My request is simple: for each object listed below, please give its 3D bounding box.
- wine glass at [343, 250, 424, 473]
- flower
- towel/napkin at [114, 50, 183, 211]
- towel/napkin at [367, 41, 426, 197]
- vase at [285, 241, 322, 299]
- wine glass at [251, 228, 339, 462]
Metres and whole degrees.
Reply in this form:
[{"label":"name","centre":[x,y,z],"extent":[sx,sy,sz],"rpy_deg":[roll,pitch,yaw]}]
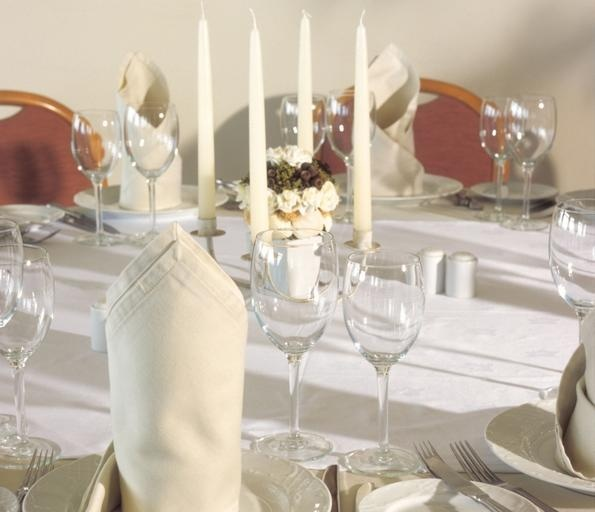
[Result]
[{"label":"wine glass","centre":[0.080,0.096,0.644],"extent":[0.077,0.239,0.077],"rpy_deg":[8,18,31]},{"label":"flower","centre":[-0.014,-0.084,1.029],"extent":[0.120,0.156,0.137],"rpy_deg":[0,6,12]},{"label":"towel/napkin","centre":[-0.277,-0.244,1.288],"extent":[0.094,0.279,0.104],"rpy_deg":[2,-7,6]},{"label":"towel/napkin","centre":[0.181,-0.269,1.358],"extent":[0.107,0.300,0.225],"rpy_deg":[9,16,37]},{"label":"vase","centre":[0.002,0.020,0.654],"extent":[0.027,0.058,0.033],"rpy_deg":[1,31,5]},{"label":"wine glass","centre":[-0.003,0.082,0.641],"extent":[0.083,0.185,0.114],"rpy_deg":[-1,12,1]}]
